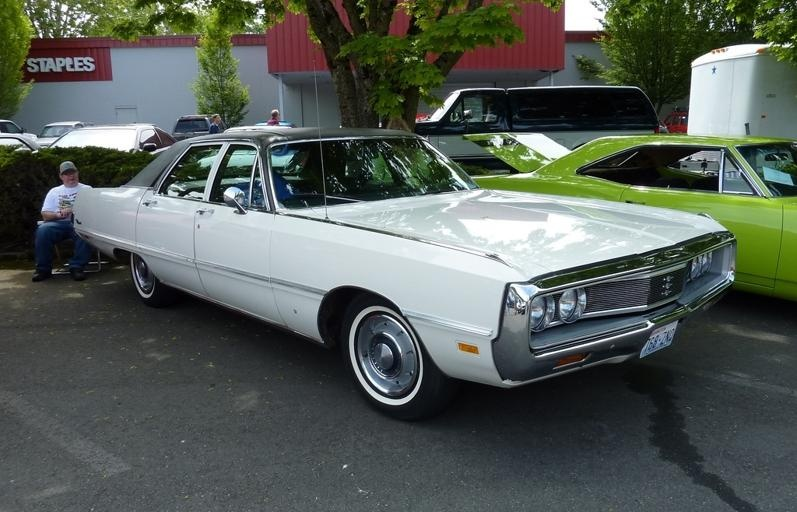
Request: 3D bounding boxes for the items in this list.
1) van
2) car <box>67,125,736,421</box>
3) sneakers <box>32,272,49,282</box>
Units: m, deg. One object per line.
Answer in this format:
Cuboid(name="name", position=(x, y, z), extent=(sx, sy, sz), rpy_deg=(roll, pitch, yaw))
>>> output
Cuboid(name="van", position=(3.841, -3.826, 13.313), extent=(5.450, 1.882, 2.491), rpy_deg=(1, 10, 1))
Cuboid(name="car", position=(-0.544, -0.096, 4.691), extent=(5.436, 1.486, 2.575), rpy_deg=(11, 17, 39))
Cuboid(name="sneakers", position=(-5.268, 0.289, 7.170), extent=(0.195, 0.108, 0.293), rpy_deg=(-9, 18, -25))
